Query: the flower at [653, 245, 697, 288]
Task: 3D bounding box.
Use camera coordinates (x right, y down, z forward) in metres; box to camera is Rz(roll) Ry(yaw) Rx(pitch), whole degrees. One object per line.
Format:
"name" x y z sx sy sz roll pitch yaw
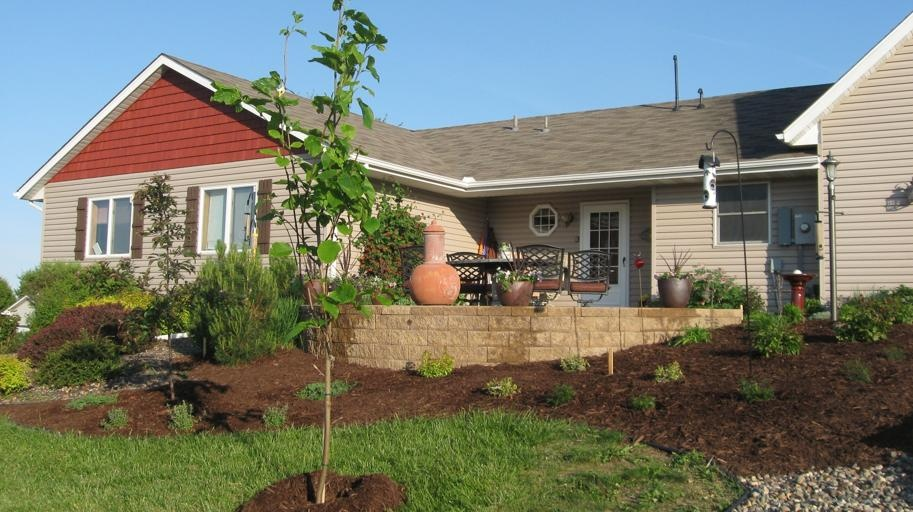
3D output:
"flower" 5.146 0.231 18.359 0.781 0.819 0.763 7 8 -7

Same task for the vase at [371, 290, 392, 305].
"vase" -1.529 0.831 15.568 0.508 0.215 0.577 6 -2 -28
